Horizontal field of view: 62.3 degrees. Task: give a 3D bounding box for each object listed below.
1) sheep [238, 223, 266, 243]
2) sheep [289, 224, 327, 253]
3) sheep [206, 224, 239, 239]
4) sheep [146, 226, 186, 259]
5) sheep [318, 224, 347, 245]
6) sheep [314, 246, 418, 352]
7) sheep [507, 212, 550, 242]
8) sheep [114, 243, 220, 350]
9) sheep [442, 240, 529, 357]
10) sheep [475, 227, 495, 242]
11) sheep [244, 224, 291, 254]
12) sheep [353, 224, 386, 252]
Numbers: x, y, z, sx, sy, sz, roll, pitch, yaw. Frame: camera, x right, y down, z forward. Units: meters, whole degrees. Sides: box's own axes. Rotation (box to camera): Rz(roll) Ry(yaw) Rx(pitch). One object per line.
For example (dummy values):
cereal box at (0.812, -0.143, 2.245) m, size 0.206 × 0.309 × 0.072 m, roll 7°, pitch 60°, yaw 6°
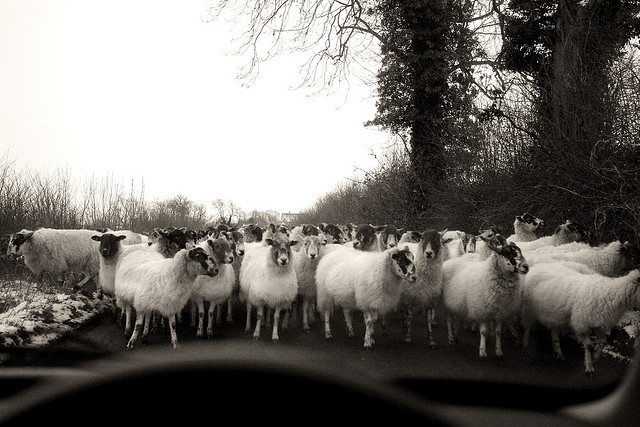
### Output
sheep at (-2.751, 0.769, 20.895) m, size 1.069 × 0.870 × 0.556 m, roll -3°, pitch -4°, yaw 39°
sheep at (-0.496, 0.776, 17.785) m, size 0.694 × 0.872 × 1.128 m, roll 1°, pitch -2°, yaw -12°
sheep at (-3.708, 0.582, 19.571) m, size 0.598 × 0.802 × 0.994 m, roll 0°, pitch 1°, yaw -30°
sheep at (-3.954, 0.694, 14.087) m, size 1.274 × 0.774 × 0.801 m, roll -11°, pitch -8°, yaw 36°
sheep at (0.539, 0.757, 19.063) m, size 0.420 × 0.793 × 1.434 m, roll 5°, pitch -3°, yaw -25°
sheep at (1.050, 2.001, 12.712) m, size 2.952 × 2.397 × 1.336 m, roll -2°, pitch -3°, yaw 45°
sheep at (6.185, 0.360, 15.916) m, size 1.174 × 1.171 × 0.690 m, roll -5°, pitch 8°, yaw 17°
sheep at (-3.614, 1.738, 11.871) m, size 2.437 × 2.093 × 1.372 m, roll 0°, pitch -1°, yaw 35°
sheep at (3.673, 1.960, 11.972) m, size 1.133 × 2.514 × 3.059 m, roll 5°, pitch -7°, yaw -18°
sheep at (4.629, 0.574, 14.770) m, size 0.281 × 0.398 × 0.703 m, roll -1°, pitch -6°, yaw -14°
sheep at (-1.660, 0.907, 15.970) m, size 1.036 × 0.437 × 0.548 m, roll -5°, pitch 23°, yaw -30°
sheep at (1.437, 0.735, 15.733) m, size 0.528 × 0.792 × 1.014 m, roll -3°, pitch -6°, yaw 28°
